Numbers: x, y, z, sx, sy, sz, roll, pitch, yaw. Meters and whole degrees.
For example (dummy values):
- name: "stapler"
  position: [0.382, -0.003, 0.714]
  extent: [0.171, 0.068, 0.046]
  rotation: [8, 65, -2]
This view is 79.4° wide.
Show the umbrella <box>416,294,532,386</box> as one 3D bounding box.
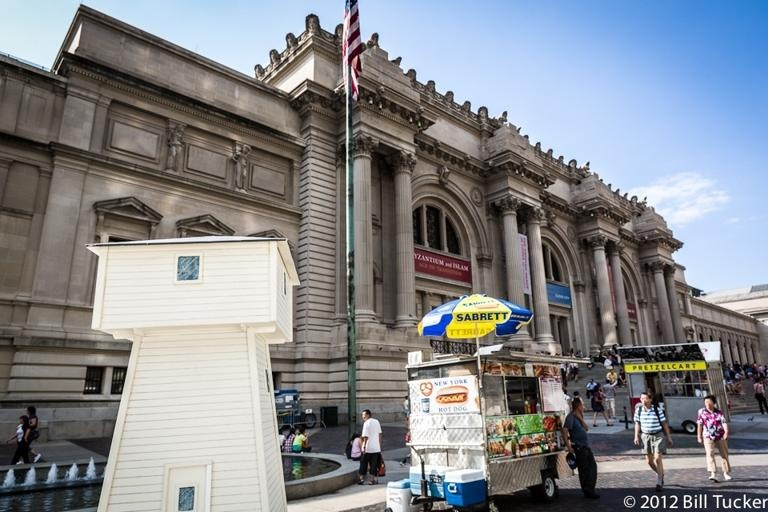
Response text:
- name: "umbrella"
  position: [2.319, 2.173, 12.240]
  extent: [2.104, 1.435, 2.242]
  rotation: [-13, -14, 39]

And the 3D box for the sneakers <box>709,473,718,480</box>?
- name: "sneakers"
  position: [9.293, 6.245, 13.068]
  extent: [0.203, 0.189, 0.377]
  rotation: [-16, -22, 27]

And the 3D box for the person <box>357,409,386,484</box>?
- name: "person"
  position: [-0.449, 5.806, 14.161]
  extent: [0.758, 2.104, 1.113]
  rotation: [-4, -21, -4]

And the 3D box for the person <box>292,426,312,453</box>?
- name: "person"
  position: [-3.077, 6.822, 17.027]
  extent: [0.677, 0.734, 0.874]
  rotation: [-1, -20, -11]

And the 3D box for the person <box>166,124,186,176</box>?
- name: "person"
  position: [-12.129, -6.318, 26.840]
  extent: [0.914, 2.993, 0.717]
  rotation: [5, -23, -25]
